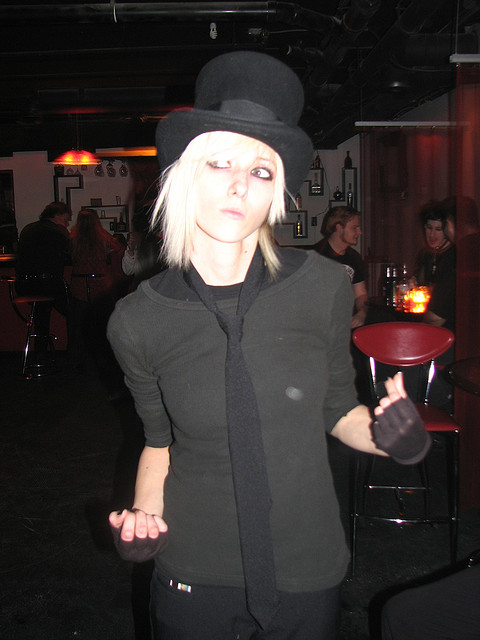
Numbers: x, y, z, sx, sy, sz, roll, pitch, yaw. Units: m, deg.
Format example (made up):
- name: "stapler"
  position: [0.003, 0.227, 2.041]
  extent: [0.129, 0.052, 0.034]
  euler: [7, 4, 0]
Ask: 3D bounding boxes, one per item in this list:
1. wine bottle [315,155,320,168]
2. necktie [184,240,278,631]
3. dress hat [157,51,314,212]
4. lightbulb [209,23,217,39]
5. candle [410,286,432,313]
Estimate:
- name: "wine bottle"
  position: [1.372, -2.821, 9.800]
  extent: [0.081, 0.144, 0.266]
  euler: [1, 9, 7]
- name: "necktie"
  position: [-0.002, 0.179, 0.856]
  extent: [0.107, 0.519, 0.208]
  euler: [-3, 10, -18]
- name: "dress hat"
  position: [-0.001, -0.309, 0.878]
  extent: [0.263, 0.232, 0.170]
  euler: [-1, 10, -8]
- name: "lightbulb"
  position: [-0.232, -2.404, 4.563]
  extent: [0.059, 0.029, 0.120]
  euler: [2, -33, -1]
- name: "candle"
  position: [1.374, -0.153, 4.198]
  extent: [0.166, 0.151, 0.274]
  euler: [7, 30, 14]
